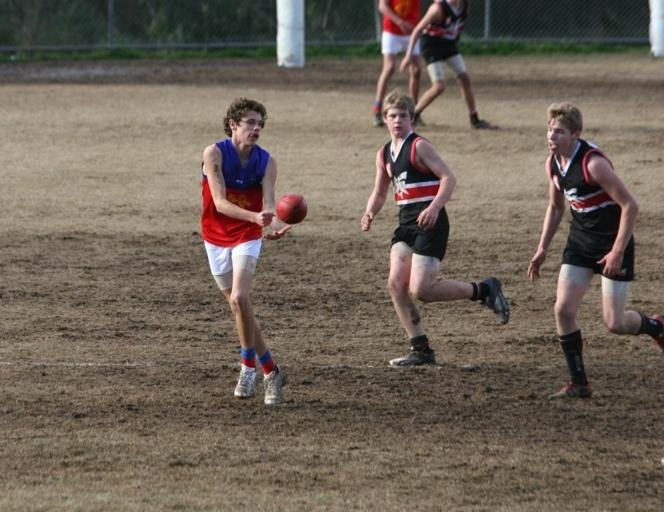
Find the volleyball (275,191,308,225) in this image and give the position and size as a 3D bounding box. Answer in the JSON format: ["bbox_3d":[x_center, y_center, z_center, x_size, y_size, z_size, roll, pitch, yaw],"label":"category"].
[{"bbox_3d":[-0.437,-0.531,16.670,0.313,0.345,0.335,-5,16,22],"label":"volleyball"}]

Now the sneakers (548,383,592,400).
[{"bbox_3d":[2.669,1.565,16.750,0.486,0.208,0.187,1,-1,3],"label":"sneakers"}]

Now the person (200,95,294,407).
[{"bbox_3d":[-0.996,-0.029,16.603,0.904,3.383,0.823,-2,12,-6],"label":"person"}]

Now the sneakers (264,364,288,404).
[{"bbox_3d":[-0.676,1.458,16.720,0.181,0.255,0.564,-18,31,24],"label":"sneakers"}]

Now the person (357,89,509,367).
[{"bbox_3d":[1.077,-0.291,17.184,1.398,3.185,0.699,-1,12,1],"label":"person"}]

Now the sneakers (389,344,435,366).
[{"bbox_3d":[0.933,1.205,17.397,0.575,0.267,0.218,0,-2,0],"label":"sneakers"}]

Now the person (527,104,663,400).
[{"bbox_3d":[2.874,-0.034,16.517,1.326,3.297,0.708,0,12,7],"label":"person"}]

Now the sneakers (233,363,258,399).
[{"bbox_3d":[-0.988,1.425,16.813,0.191,0.287,0.583,6,24,5],"label":"sneakers"}]
